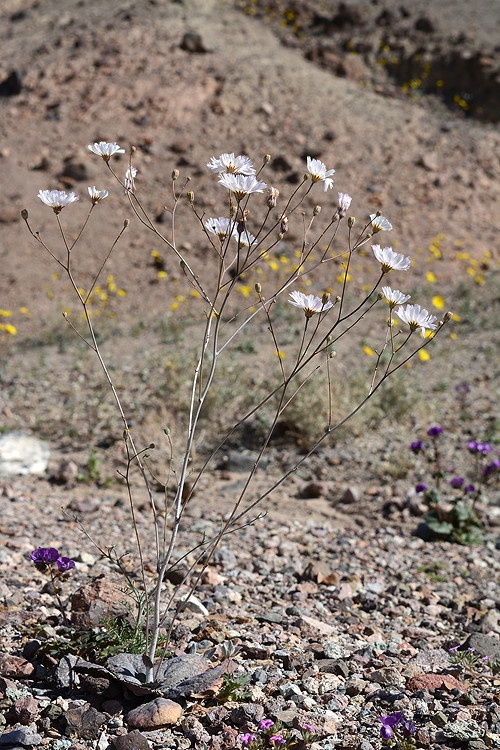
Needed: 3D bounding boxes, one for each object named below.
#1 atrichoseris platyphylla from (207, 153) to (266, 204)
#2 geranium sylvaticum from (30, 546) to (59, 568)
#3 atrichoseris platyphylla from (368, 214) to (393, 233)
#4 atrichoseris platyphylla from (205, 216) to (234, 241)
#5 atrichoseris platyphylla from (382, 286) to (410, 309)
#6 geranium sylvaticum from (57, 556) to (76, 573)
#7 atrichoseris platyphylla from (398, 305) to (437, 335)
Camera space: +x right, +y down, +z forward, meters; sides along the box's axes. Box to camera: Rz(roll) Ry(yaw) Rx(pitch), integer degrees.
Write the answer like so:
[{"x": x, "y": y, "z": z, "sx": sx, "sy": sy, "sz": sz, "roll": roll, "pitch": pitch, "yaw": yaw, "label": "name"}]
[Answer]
[{"x": -0.063, "y": -0.846, "z": 5.047, "sx": 0.234, "sy": 0.224, "sz": 0.485, "roll": 6, "pitch": 4, "yaw": -3, "label": "atrichoseris platyphylla"}, {"x": -0.900, "y": 0.796, "z": 5.200, "sx": 0.118, "sy": 0.113, "sz": 0.163, "roll": 6, "pitch": 4, "yaw": -8, "label": "geranium sylvaticum"}, {"x": 0.553, "y": -0.650, "z": 5.116, "sx": 0.103, "sy": 0.043, "sz": 0.106, "roll": 42, "pitch": 32, "yaw": 1, "label": "atrichoseris platyphylla"}, {"x": -0.120, "y": -0.620, "z": 4.996, "sx": 0.116, "sy": 0.055, "sz": 0.111, "roll": -17, "pitch": 49, "yaw": -18, "label": "atrichoseris platyphylla"}, {"x": 0.616, "y": -0.327, "z": 5.023, "sx": 0.121, "sy": 0.062, "sz": 0.117, "roll": 17, "pitch": 12, "yaw": 12, "label": "atrichoseris platyphylla"}, {"x": -0.817, "y": 0.833, "z": 5.206, "sx": 0.075, "sy": 0.075, "sz": 0.081, "roll": 6, "pitch": 4, "yaw": -7, "label": "geranium sylvaticum"}, {"x": 0.684, "y": -0.230, "z": 5.046, "sx": 0.165, "sy": 0.076, "sz": 0.156, "roll": -7, "pitch": 44, "yaw": -35, "label": "atrichoseris platyphylla"}]
